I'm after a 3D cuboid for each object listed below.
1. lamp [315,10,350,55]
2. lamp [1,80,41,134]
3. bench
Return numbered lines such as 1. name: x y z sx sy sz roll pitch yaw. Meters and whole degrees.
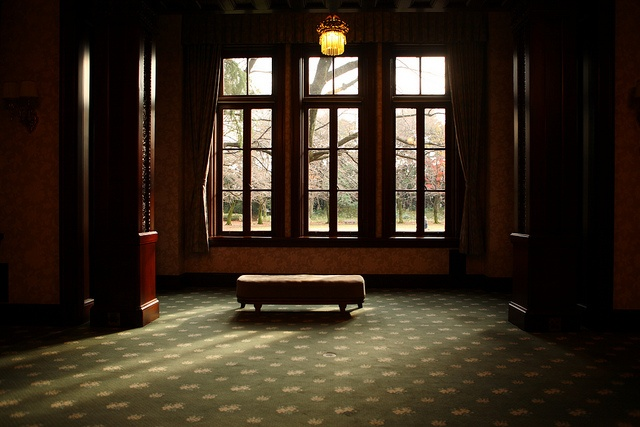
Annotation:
1. lamp: 0.154 -2.500 6.952 0.454 0.570 0.470 -2 -5 9
2. lamp: -4.033 -1.436 6.696 0.500 0.677 0.164 0 9 -2
3. bench: -0.286 1.170 7.175 1.807 0.468 0.331 -1 9 -4
